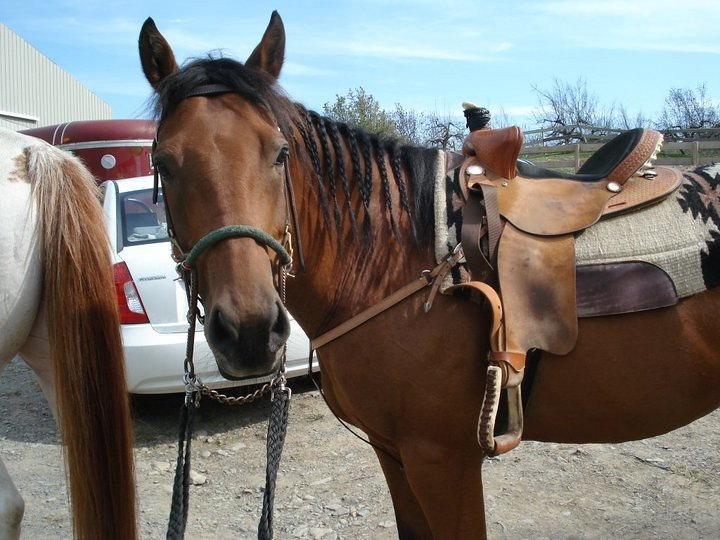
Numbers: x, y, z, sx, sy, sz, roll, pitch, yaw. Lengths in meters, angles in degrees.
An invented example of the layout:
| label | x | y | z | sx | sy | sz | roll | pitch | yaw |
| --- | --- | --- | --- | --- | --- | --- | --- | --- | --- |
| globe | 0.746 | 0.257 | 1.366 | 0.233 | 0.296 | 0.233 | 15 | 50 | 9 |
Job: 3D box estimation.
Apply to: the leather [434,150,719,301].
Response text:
| label | x | y | z | sx | sy | sz | roll | pitch | yaw |
| --- | --- | --- | --- | --- | --- | --- | --- | --- | --- |
| leather | 0.925 | -0.212 | 2.552 | 0.726 | 0.243 | 0.545 | -15 | 10 | -2 |

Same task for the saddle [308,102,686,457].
| label | x | y | z | sx | sy | sz | roll | pitch | yaw |
| --- | --- | --- | --- | --- | --- | --- | --- | --- | --- |
| saddle | 0.512 | -0.153 | 3.021 | 1.975 | 1.572 | 0.728 | -13 | 14 | -12 |
